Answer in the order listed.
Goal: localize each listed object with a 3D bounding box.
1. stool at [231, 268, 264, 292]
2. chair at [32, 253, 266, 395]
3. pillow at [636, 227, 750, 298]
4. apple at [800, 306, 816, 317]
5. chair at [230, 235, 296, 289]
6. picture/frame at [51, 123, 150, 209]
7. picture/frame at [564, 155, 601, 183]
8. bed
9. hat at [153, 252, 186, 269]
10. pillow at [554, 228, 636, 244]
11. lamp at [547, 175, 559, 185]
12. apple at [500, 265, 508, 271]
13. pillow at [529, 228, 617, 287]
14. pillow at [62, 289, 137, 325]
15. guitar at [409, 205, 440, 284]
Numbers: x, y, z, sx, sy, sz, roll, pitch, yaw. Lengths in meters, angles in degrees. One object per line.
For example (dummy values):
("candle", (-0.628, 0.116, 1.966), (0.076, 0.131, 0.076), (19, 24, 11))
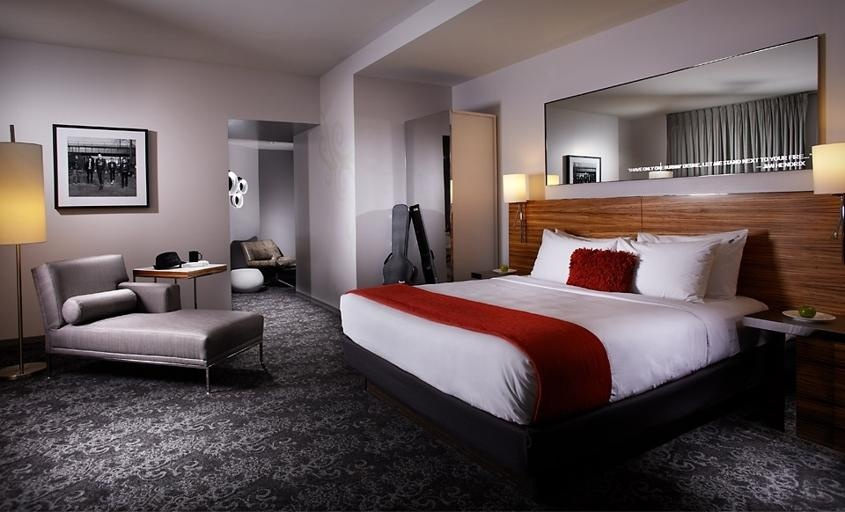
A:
("stool", (-3.192, 0.416, 8.800), (0.459, 0.239, 0.466), (-1, 3, -33))
("chair", (-2.912, 0.625, 5.244), (2.017, 1.025, 1.022), (4, 8, 12))
("pillow", (2.572, 0.079, 4.586), (0.237, 0.537, 0.679), (32, -17, -33))
("apple", (3.183, 0.448, 4.024), (0.094, 0.058, 0.089), (-6, 3, 2))
("chair", (-2.978, 0.091, 9.494), (0.999, 0.747, 0.988), (-4, 9, -25))
("picture/frame", (-4.270, -1.190, 6.352), (1.272, 1.146, 0.049), (-1, 7, -23))
("picture/frame", (1.919, -1.048, 5.795), (0.378, 0.320, 0.134), (2, 5, 38))
("bed", (0.890, 0.727, 4.809), (3.648, 0.666, 3.539), (0, 6, -1))
("hat", (-3.003, 0.049, 5.743), (0.329, 0.113, 0.232), (-9, 11, -33))
("pillow", (1.902, -0.225, 5.613), (0.739, 0.155, 0.098), (10, -5, 34))
("lamp", (1.616, -0.951, 6.037), (0.129, 0.086, 0.122), (0, -1, 1))
("apple", (1.031, 0.147, 6.158), (0.077, 0.047, 0.072), (-2, 1, 9))
("pillow", (1.599, 0.020, 5.443), (0.222, 0.540, 0.791), (14, -7, -35))
("pillow", (-3.436, 0.522, 5.163), (0.262, 0.278, 0.671), (-10, 2, 31))
("guitar", (0.051, -0.174, 6.597), (0.267, 1.049, 0.537), (-7, 12, -28))
